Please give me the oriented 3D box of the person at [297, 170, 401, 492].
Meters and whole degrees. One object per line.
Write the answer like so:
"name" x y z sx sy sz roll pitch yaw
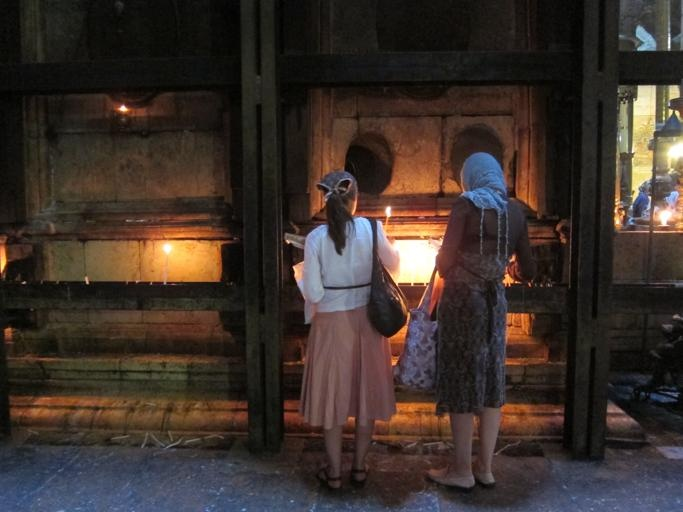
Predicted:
"person" 0.068 0.707 9.604 0.909 3.011 0.319 0 6 1

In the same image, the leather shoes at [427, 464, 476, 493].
"leather shoes" 1.044 2.139 9.737 0.456 0.176 0.190 8 8 30

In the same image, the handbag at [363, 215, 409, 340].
"handbag" 0.432 0.199 9.561 0.367 1.114 0.221 0 6 1

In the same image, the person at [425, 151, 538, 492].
"person" 1.307 0.620 9.611 0.880 3.178 0.399 -3 6 -23

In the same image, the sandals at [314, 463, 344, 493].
"sandals" -0.118 2.137 9.705 0.140 0.109 0.269 -3 14 -19

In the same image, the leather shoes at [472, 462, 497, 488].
"leather shoes" 1.367 2.123 9.724 0.121 0.129 0.309 0 4 -1
